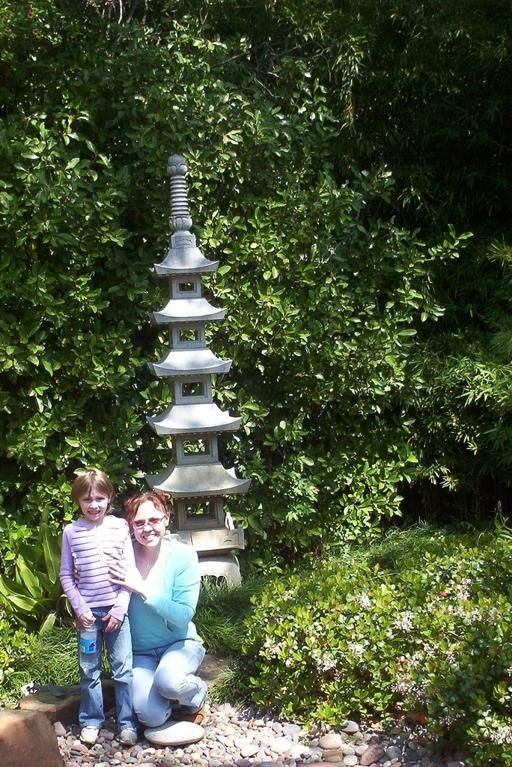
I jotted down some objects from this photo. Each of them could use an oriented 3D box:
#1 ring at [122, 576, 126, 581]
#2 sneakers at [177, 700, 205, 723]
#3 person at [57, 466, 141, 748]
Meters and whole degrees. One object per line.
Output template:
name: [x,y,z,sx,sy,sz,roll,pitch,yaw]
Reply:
ring: [-0.450,0.679,3.197,0.009,0.011,0.010,-5,14,-7]
sneakers: [-0.220,1.174,3.291,0.118,0.083,0.044,-2,8,2]
person: [-0.541,0.771,3.231,0.255,0.905,0.438,-5,15,-6]
